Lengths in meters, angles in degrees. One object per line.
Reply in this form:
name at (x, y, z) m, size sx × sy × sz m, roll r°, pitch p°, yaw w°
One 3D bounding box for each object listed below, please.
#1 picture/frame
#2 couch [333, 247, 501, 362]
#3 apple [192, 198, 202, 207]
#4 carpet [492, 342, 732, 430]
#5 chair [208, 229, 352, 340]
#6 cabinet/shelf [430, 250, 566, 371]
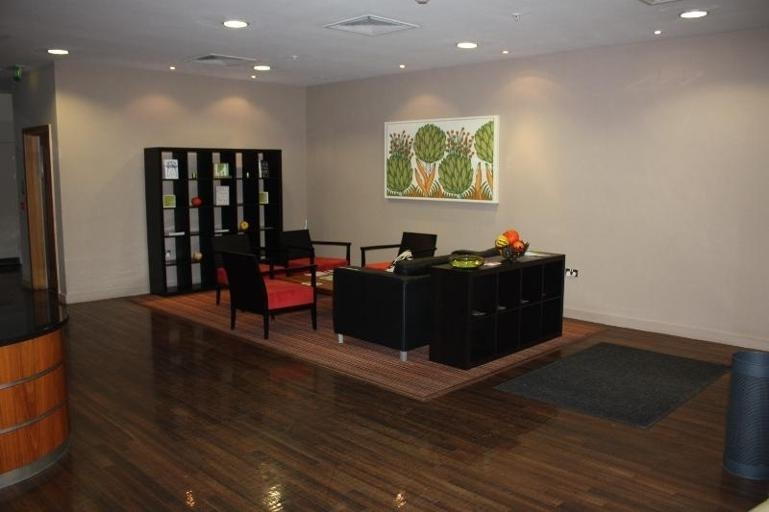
picture/frame at (1.015, -1.614, 8.462) m, size 1.655 × 0.982 × 0.058 m, roll 6°, pitch 11°, yaw 39°
couch at (0.241, 0.457, 6.484) m, size 1.248 × 1.165 × 1.848 m, roll 10°, pitch 13°, yaw 41°
apple at (-3.225, -0.945, 8.942) m, size 0.122 × 0.159 × 0.263 m, roll 0°, pitch 10°, yaw 8°
carpet at (2.478, 1.321, 5.542) m, size 2.272 × 0.086 × 1.397 m, roll -9°, pitch 12°, yaw -38°
chair at (-1.395, 0.299, 7.713) m, size 1.385 × 1.215 × 2.175 m, roll 6°, pitch 7°, yaw 41°
cabinet/shelf at (1.285, 0.566, 6.384) m, size 0.692 × 1.188 × 2.155 m, roll 19°, pitch 15°, yaw 36°
